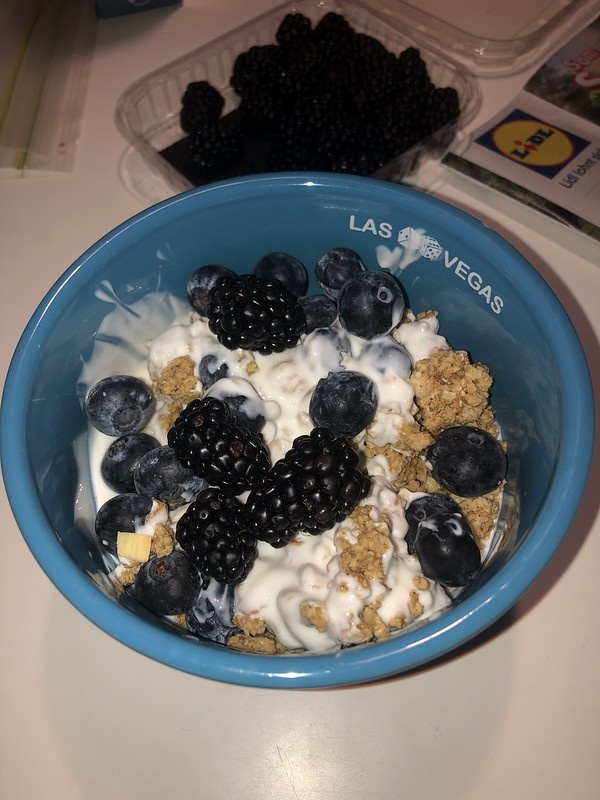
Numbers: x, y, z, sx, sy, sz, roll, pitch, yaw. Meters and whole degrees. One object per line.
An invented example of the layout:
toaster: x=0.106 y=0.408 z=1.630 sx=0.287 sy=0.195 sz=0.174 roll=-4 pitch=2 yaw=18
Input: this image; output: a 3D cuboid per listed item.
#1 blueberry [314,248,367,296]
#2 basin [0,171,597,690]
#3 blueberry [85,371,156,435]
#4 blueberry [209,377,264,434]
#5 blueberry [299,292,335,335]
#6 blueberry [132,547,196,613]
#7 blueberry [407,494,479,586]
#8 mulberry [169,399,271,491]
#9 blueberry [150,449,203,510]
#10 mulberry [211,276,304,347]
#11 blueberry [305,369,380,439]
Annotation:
blueberry: x=0.071 y=-0.249 z=1.390 sx=0.099 sy=0.089 sz=0.102 roll=11 pitch=67 yaw=-15
basin: x=-0.026 y=0.022 z=1.192 sx=0.920 sy=0.372 sz=0.838 roll=0 pitch=73 yaw=1
blueberry: x=-0.335 y=0.010 z=1.320 sx=0.123 sy=0.086 sz=0.112 roll=2 pitch=57 yaw=-3
blueberry: x=-0.098 y=0.009 z=1.294 sx=0.080 sy=0.060 sz=0.107 roll=-44 pitch=89 yaw=3
blueberry: x=0.034 y=-0.166 z=1.345 sx=0.067 sy=0.041 sz=0.072 roll=-3 pitch=56 yaw=-4
blueberry: x=-0.227 y=0.305 z=1.161 sx=0.105 sy=0.095 sz=0.070 roll=3 pitch=35 yaw=-4
blueberry: x=0.217 y=0.227 z=1.193 sx=0.089 sy=0.096 sz=0.158 roll=48 pitch=60 yaw=-3
mulberry: x=-0.145 y=0.041 z=1.257 sx=0.162 sy=0.241 sz=0.123 roll=-11 pitch=108 yaw=0
blueberry: x=-0.225 y=0.142 z=1.304 sx=0.090 sy=0.089 sz=0.105 roll=-4 pitch=98 yaw=12
mulberry: x=-0.078 y=-0.139 z=1.234 sx=0.129 sy=0.154 sz=0.082 roll=3 pitch=87 yaw=-3
blueberry: x=0.077 y=0.000 z=1.278 sx=0.141 sy=0.096 sz=0.144 roll=6 pitch=31 yaw=27
